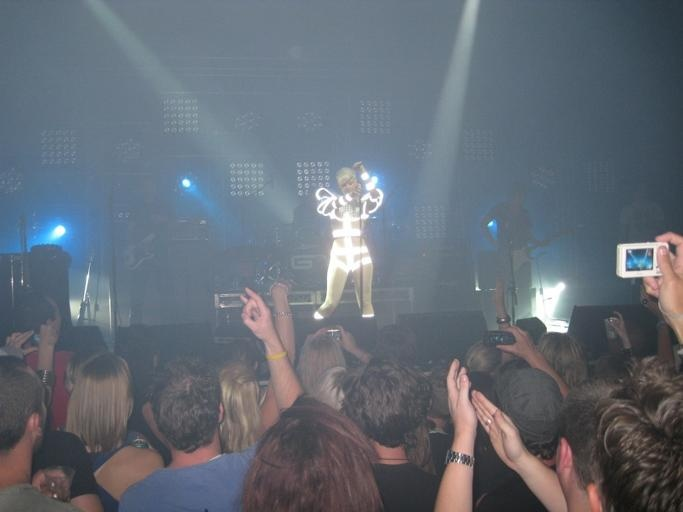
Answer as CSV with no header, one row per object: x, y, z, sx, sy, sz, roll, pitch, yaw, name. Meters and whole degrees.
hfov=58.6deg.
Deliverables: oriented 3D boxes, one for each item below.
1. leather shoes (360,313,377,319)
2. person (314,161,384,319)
0.354,0.795,8.095,0.199,0.088,0.113,0,-6,-18,leather shoes
0.098,-0.160,8.279,0.972,2.008,1.210,-2,-5,-3,person
